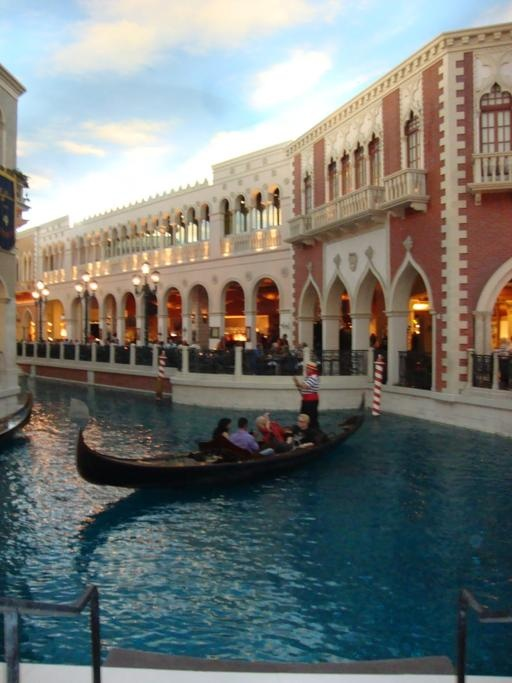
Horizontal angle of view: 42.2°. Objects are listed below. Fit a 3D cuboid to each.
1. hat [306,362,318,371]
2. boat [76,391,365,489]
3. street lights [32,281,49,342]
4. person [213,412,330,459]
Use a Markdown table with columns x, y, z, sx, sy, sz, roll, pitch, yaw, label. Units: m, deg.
| x | y | z | sx | sy | sz | roll | pitch | yaw | label |
| --- | --- | --- | --- | --- | --- | --- | --- | --- | --- |
| 1.044 | 0.468 | 12.301 | 0.186 | 0.085 | 0.220 | 8 | 0 | 0 | hat |
| -0.509 | 1.289 | 9.185 | 1.028 | 1.080 | 5.371 | -3 | -1 | 41 | boat |
| -9.242 | -1.226 | 28.264 | 0.843 | 2.577 | 0.841 | 0 | 1 | -11 | street lights |
| 0.056 | 1.490 | 10.191 | 1.439 | 0.517 | 0.706 | -1 | -4 | -43 | person |
